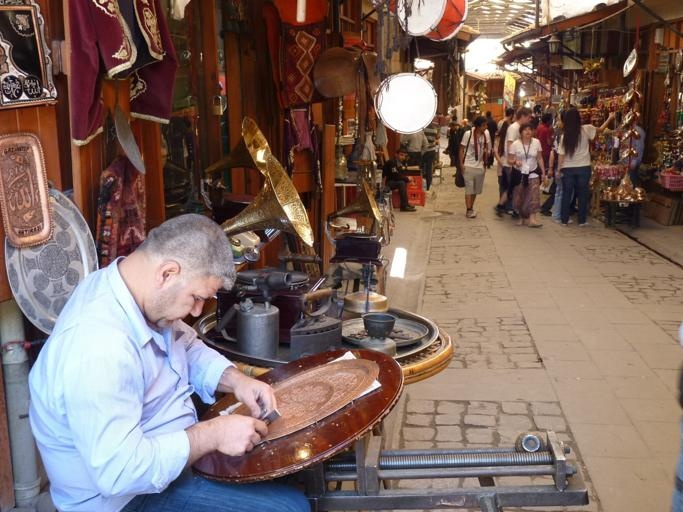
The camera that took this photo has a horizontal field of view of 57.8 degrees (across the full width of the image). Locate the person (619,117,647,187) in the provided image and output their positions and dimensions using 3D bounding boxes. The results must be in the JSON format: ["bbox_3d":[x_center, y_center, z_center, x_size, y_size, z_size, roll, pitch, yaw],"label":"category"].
[{"bbox_3d":[4.836,-1.741,10.333,0.317,0.352,1.331,10,-25,20],"label":"person"}]

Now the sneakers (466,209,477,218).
[{"bbox_3d":[2.445,-0.792,11.730,0.119,0.127,0.272,-1,4,5],"label":"sneakers"}]

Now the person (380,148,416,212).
[{"bbox_3d":[1.139,-1.447,12.286,0.432,1.179,1.051,6,16,31],"label":"person"}]

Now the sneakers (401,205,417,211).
[{"bbox_3d":[1.358,-0.989,12.578,0.319,0.148,0.110,-8,14,-11],"label":"sneakers"}]
